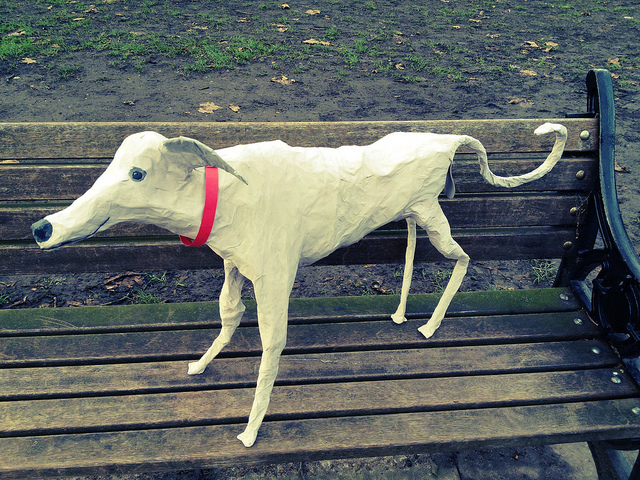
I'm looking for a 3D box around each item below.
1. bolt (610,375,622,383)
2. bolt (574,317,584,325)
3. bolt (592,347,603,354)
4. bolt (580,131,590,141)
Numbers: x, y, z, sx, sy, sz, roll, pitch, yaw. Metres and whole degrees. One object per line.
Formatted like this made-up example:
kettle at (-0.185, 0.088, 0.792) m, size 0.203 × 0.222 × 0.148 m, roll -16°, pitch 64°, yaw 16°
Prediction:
bolt at (2.036, 0.967, 6.041) m, size 0.056 × 0.025 × 0.067 m, roll -24°, pitch 42°, yaw -29°
bolt at (1.852, 0.587, 6.269) m, size 0.048 × 0.011 × 0.047 m, roll 34°, pitch 51°, yaw 28°
bolt at (1.942, 0.779, 6.149) m, size 0.054 × 0.023 × 0.045 m, roll 0°, pitch 10°, yaw -43°
bolt at (1.911, -0.755, 6.327) m, size 0.066 × 0.049 × 0.055 m, roll 27°, pitch 83°, yaw 21°
